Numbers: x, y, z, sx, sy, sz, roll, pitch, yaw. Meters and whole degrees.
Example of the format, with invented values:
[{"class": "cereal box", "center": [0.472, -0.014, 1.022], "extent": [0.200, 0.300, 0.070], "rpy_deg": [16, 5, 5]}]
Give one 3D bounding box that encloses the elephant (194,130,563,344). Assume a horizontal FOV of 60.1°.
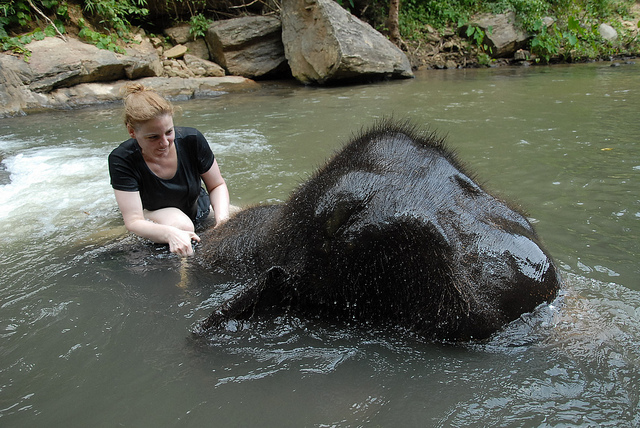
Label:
[{"class": "elephant", "center": [0.299, 0.250, 3.456], "extent": [2.001, 0.797, 1.314], "rpy_deg": [-3, 14, 33]}]
